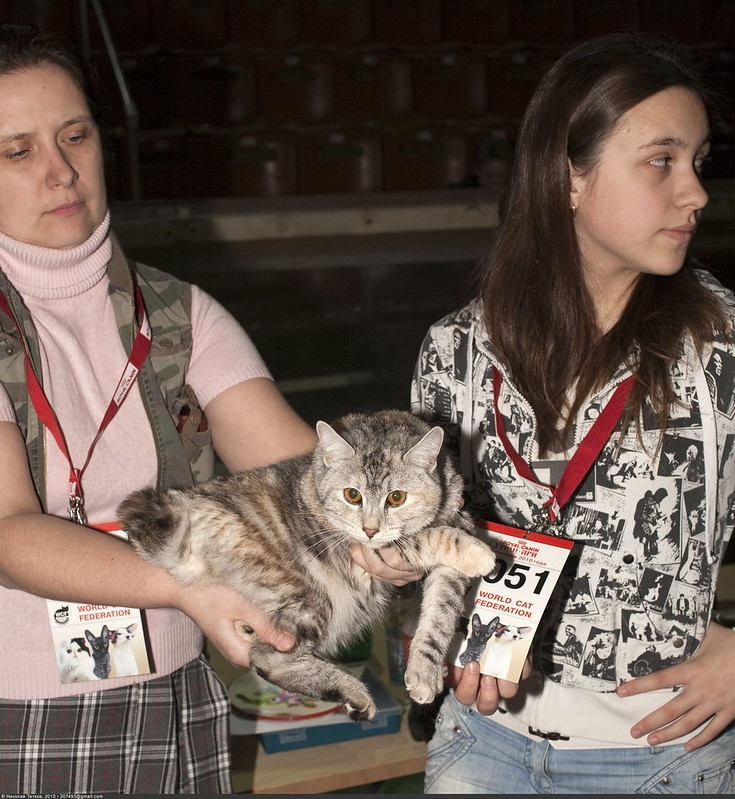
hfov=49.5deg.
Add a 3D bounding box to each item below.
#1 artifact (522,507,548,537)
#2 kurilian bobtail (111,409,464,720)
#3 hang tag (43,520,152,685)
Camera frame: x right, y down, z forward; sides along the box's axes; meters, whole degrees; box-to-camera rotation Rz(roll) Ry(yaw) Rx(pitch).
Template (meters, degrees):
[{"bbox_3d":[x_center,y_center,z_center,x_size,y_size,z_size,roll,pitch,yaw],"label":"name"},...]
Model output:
[{"bbox_3d":[0.483,0.371,2.377,0.032,0.067,0.084,10,-22,-24],"label":"artifact"},{"bbox_3d":[-0.176,0.379,2.177,1.107,0.535,0.716,13,25,-3],"label":"kurilian bobtail"},{"bbox_3d":[-0.666,0.591,2.010,0.200,0.266,0.030,5,21,-19],"label":"hang tag"}]
